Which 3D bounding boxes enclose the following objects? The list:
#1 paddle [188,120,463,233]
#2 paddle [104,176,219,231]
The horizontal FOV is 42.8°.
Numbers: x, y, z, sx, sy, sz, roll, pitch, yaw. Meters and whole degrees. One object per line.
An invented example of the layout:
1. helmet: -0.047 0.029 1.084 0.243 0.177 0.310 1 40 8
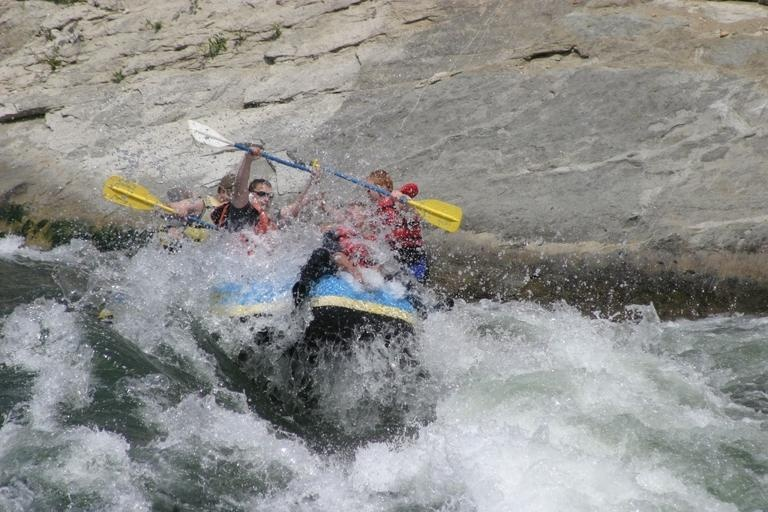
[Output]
1. paddle: -0.760 -1.165 14.739 4.269 0.324 0.621 22 97 11
2. paddle: -3.333 -0.764 14.617 1.788 0.142 0.415 25 82 7
